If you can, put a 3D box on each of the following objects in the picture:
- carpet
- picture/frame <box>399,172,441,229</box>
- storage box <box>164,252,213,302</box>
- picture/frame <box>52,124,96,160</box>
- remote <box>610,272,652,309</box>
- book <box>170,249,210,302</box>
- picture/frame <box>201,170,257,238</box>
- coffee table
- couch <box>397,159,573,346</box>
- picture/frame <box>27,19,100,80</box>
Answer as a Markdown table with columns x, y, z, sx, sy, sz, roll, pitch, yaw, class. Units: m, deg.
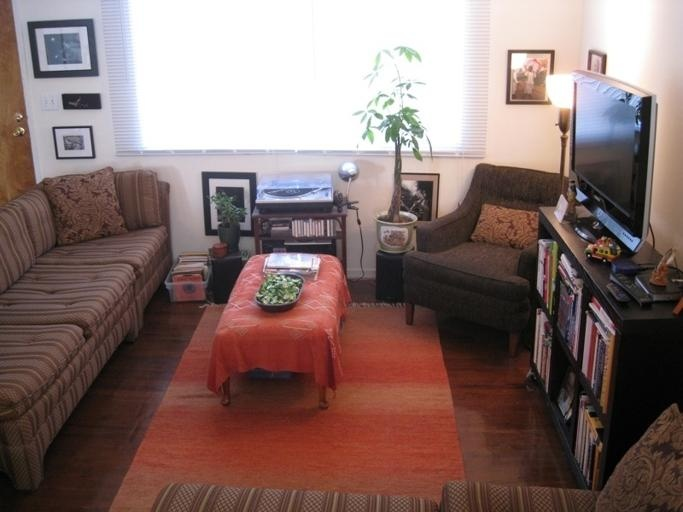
| x | y | z | sx | sy | sz | roll | pitch | yaw | class |
| --- | --- | --- | --- | --- | --- | --- | --- | --- | --- |
| -0.233 | 0.914 | 3.546 | 2.026 | 0.260 | 1.704 | -2 | 22 | -2 | carpet |
| 0.725 | -0.530 | 4.833 | 0.553 | 0.677 | 0.029 | 0 | 16 | 2 | picture/frame |
| -1.414 | 0.247 | 4.933 | 0.348 | 0.255 | 0.542 | -3 | 11 | -14 | storage box |
| -2.540 | -1.100 | 4.934 | 0.296 | 0.278 | 0.020 | 0 | 11 | -3 | picture/frame |
| 1.323 | 0.153 | 2.410 | 0.058 | 0.023 | 0.201 | -6 | 28 | -1 | remote |
| -1.391 | 0.197 | 4.830 | 0.278 | 0.217 | 0.453 | -1 | 19 | -3 | book |
| -1.058 | -0.528 | 4.968 | 0.615 | 0.801 | 0.037 | 0 | 12 | -1 | picture/frame |
| -0.414 | 0.431 | 3.977 | 0.891 | 0.572 | 1.475 | 1 | 21 | 4 | coffee table |
| 1.113 | -0.048 | 4.578 | 1.195 | 1.648 | 1.466 | 10 | 22 | 30 | couch |
| -2.525 | -1.907 | 4.722 | 0.463 | 0.427 | 0.034 | 0 | 17 | -1 | picture/frame |
